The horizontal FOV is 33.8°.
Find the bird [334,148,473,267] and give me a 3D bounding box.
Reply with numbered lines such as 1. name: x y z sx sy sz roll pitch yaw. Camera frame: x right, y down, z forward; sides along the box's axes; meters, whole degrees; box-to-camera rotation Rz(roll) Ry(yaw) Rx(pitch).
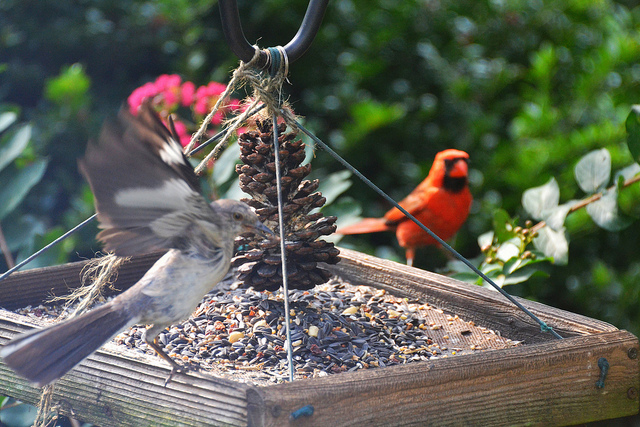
1. bird: 0.550 -0.066 6.273 0.432 0.771 1.141 -17 20 -39

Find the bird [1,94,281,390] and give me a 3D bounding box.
1. bird: -0.679 0.150 4.152 0.977 1.042 0.547 4 32 -17

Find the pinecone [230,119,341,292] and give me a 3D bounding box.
1. pinecone: -0.157 -0.014 4.805 0.328 0.964 0.360 11 12 44
